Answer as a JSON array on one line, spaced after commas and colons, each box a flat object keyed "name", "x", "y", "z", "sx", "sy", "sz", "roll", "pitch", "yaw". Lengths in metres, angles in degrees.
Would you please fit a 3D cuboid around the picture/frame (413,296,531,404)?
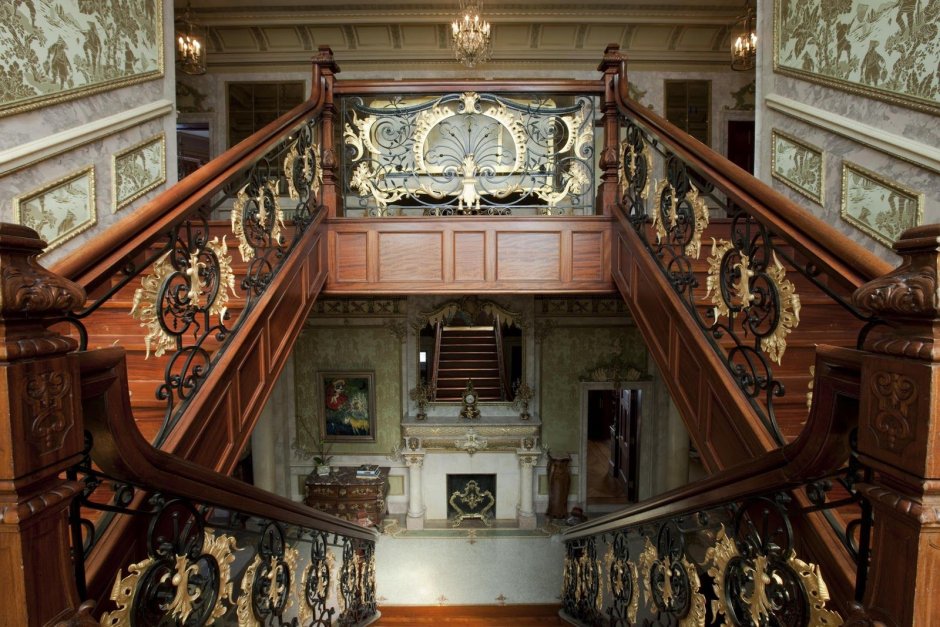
[{"name": "picture/frame", "x": 0.031, "y": 0.440, "z": 9.751, "sx": 0.919, "sy": 1.032, "sz": 1.725, "roll": 1, "pitch": 9, "yaw": 1}]

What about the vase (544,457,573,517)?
[{"name": "vase", "x": 1.073, "y": 2.143, "z": 8.361, "sx": 0.272, "sy": 0.676, "sz": 0.476, "roll": 0, "pitch": -26, "yaw": 5}]

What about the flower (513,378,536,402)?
[{"name": "flower", "x": 0.659, "y": 0.954, "z": 8.491, "sx": 0.249, "sy": 0.302, "sz": 0.236, "roll": 1, "pitch": 5, "yaw": -1}]

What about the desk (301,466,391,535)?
[{"name": "desk", "x": -1.525, "y": 2.170, "z": 8.243, "sx": 0.935, "sy": 0.727, "sz": 0.737, "roll": 3, "pitch": 22, "yaw": -2}]

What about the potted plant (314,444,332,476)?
[{"name": "potted plant", "x": -1.827, "y": 1.807, "z": 8.374, "sx": 0.244, "sy": 0.364, "sz": 0.259, "roll": -1, "pitch": 5, "yaw": -10}]

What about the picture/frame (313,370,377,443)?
[{"name": "picture/frame", "x": -1.568, "y": 1.141, "z": 8.582, "sx": 0.860, "sy": 1.144, "sz": 0.085, "roll": 0, "pitch": 1, "yaw": 2}]

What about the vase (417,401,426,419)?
[{"name": "vase", "x": -0.611, "y": 1.220, "z": 8.490, "sx": 0.129, "sy": 0.235, "sz": 0.197, "roll": 5, "pitch": -26, "yaw": -5}]
